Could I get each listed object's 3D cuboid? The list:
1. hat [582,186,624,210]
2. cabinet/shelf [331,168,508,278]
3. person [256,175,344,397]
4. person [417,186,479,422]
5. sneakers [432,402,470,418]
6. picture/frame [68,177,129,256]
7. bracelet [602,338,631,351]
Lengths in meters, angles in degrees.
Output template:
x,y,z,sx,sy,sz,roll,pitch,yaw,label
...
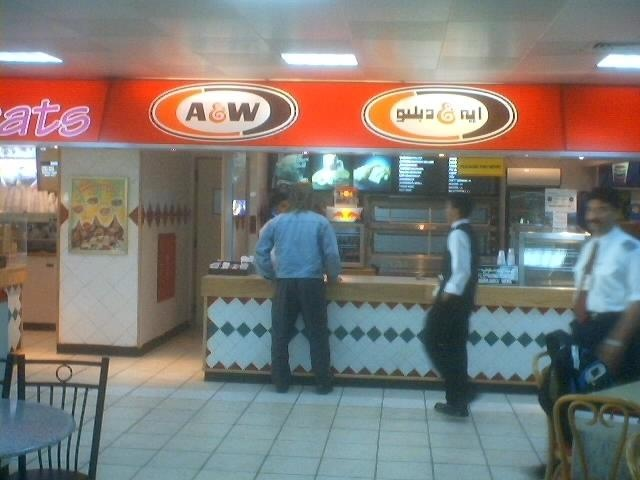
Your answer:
x,y,z,sx,sy,sz,roll,pitch,yaw,label
1.883,-0.290,3.812,0.189,0.131,0.185,-3,7,5,hat
1.361,-0.218,7.809,1.597,1.445,0.508,0,-7,1,cabinet/shelf
-0.220,0.480,5.704,0.807,2.051,0.426,0,6,-7,person
1.168,0.602,5.042,0.445,1.945,0.282,-3,6,-33,person
1.174,1.519,5.127,0.315,0.124,0.114,5,4,31,sneakers
-2.629,-0.287,6.817,0.956,1.209,0.087,0,2,4,picture/frame
1.810,0.643,3.502,0.072,0.065,0.070,3,-2,-9,bracelet
